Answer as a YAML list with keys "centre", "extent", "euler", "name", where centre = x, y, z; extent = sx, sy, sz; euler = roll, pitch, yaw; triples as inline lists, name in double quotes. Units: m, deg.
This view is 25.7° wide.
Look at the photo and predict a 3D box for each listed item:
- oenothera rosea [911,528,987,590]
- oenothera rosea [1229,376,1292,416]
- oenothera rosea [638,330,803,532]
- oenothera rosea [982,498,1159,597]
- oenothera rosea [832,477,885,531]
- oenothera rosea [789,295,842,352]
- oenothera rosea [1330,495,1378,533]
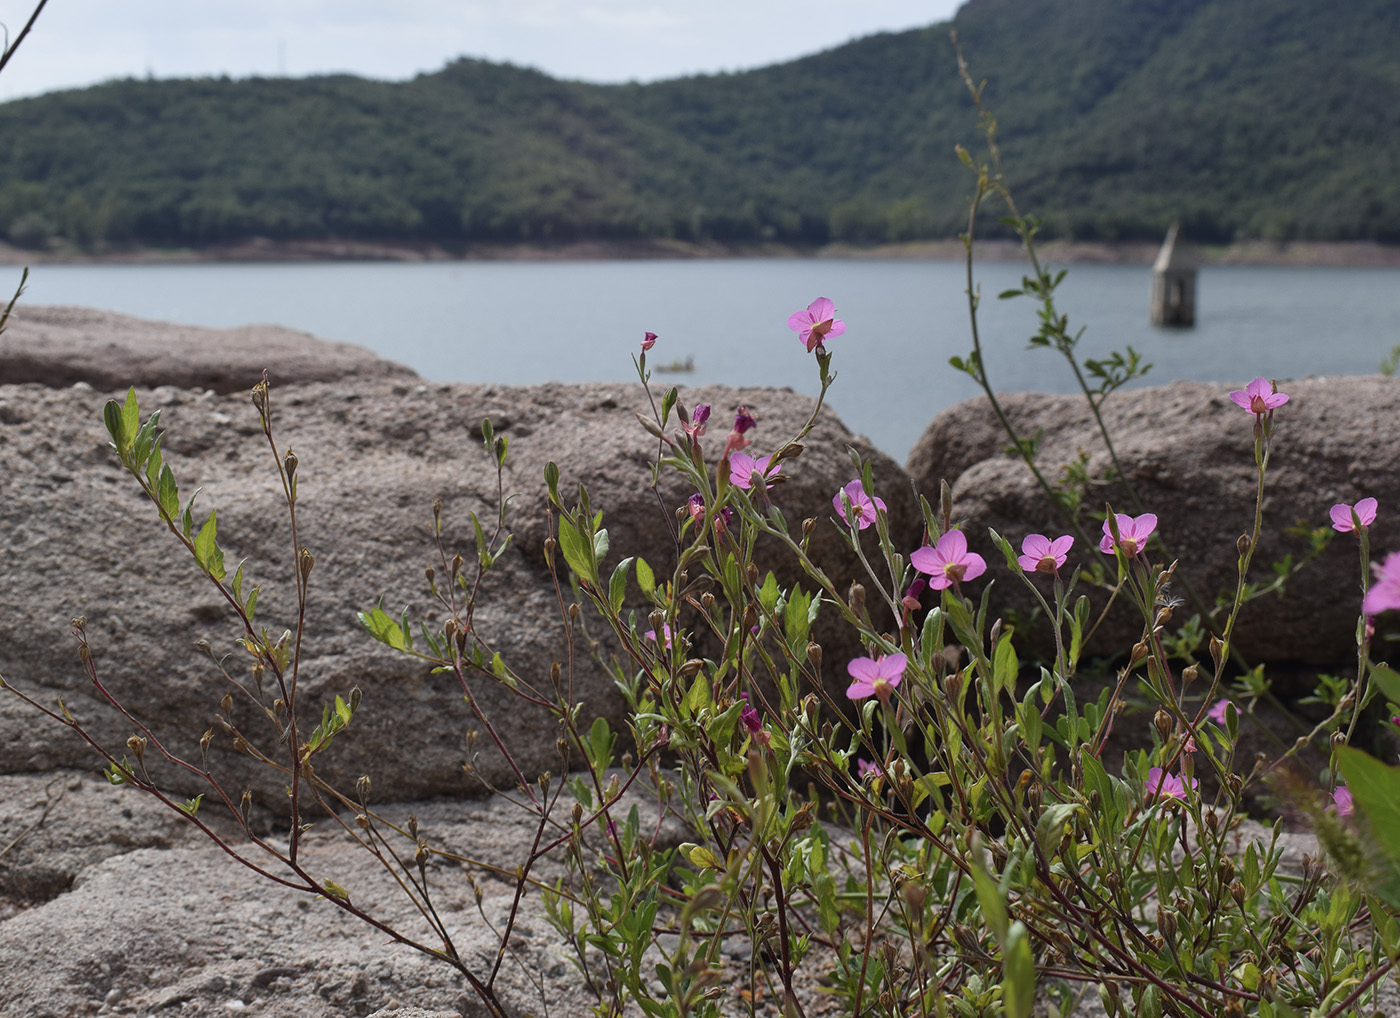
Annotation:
- centre: [0.943, 0.190, 11.632]
  extent: [0.283, 0.255, 0.275]
  euler: [-6, 14, -8]
  name: "oenothera rosea"
- centre: [2.173, -0.452, 11.914]
  extent: [0.203, 0.172, 0.366]
  euler: [-2, 16, 9]
  name: "oenothera rosea"
- centre: [0.081, -0.264, 12.013]
  extent: [0.588, 0.424, 0.639]
  euler: [21, 3, -13]
  name: "oenothera rosea"
- centre: [1.451, 0.133, 11.884]
  extent: [0.613, 0.348, 0.326]
  euler: [-11, 42, 7]
  name: "oenothera rosea"
- centre: [0.611, -0.010, 11.760]
  extent: [0.163, 0.210, 0.263]
  euler: [-6, 15, -7]
  name: "oenothera rosea"
- centre: [0.436, -0.716, 11.697]
  extent: [0.185, 0.242, 0.262]
  euler: [-2, 14, 7]
  name: "oenothera rosea"
- centre: [2.532, 0.021, 11.832]
  extent: [0.164, 0.176, 0.099]
  euler: [-22, -17, 29]
  name: "oenothera rosea"
